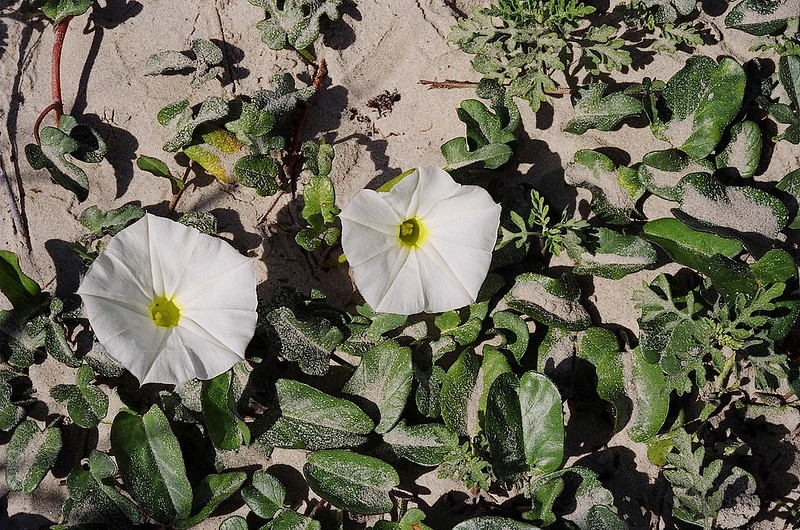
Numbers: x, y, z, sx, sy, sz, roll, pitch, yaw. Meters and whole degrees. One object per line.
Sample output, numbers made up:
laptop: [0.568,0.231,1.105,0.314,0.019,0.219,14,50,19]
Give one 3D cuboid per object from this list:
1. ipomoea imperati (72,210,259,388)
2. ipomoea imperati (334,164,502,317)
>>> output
ipomoea imperati: [-1.333,0.225,4.504,1.007,0.701,0.636,14,-53,-12]
ipomoea imperati: [-0.003,-0.051,4.728,0.297,0.853,0.779,-46,-54,-5]
